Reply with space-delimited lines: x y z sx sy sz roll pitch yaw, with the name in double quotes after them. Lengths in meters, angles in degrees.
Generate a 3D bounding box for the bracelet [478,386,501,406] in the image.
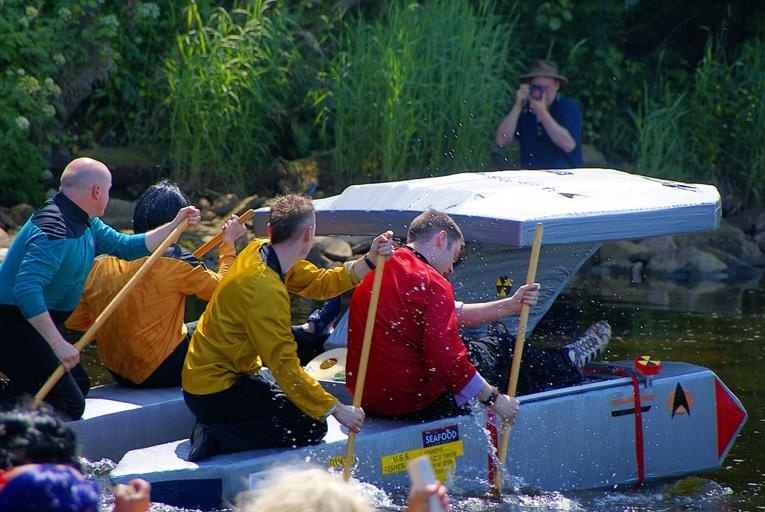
1.043 1.391 13.243 0.176 0.201 0.185 -2 -35 -6 "bracelet"

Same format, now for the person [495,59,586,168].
1.963 -1.765 16.959 1.008 1.354 0.748 -2 3 9 "person"

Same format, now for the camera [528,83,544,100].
1.912 -2.041 16.791 0.135 0.214 0.077 -4 -8 3 "camera"

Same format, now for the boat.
0.502 1.130 13.510 5.595 2.780 3.413 -5 9 -30 "boat"
